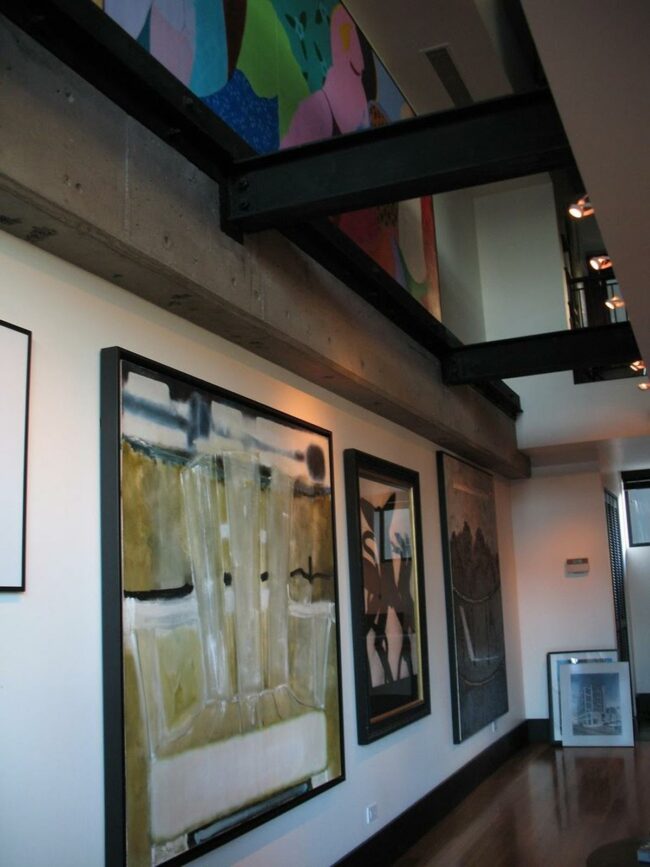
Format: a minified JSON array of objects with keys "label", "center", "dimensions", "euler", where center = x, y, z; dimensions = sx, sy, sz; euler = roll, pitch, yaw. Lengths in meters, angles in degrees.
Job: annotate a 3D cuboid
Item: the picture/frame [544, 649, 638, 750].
[{"label":"picture/frame","center":[2.940,2.989,7.308],"dimensions":[0.644,1.132,0.036],"euler":[-5,-12,23]}]
